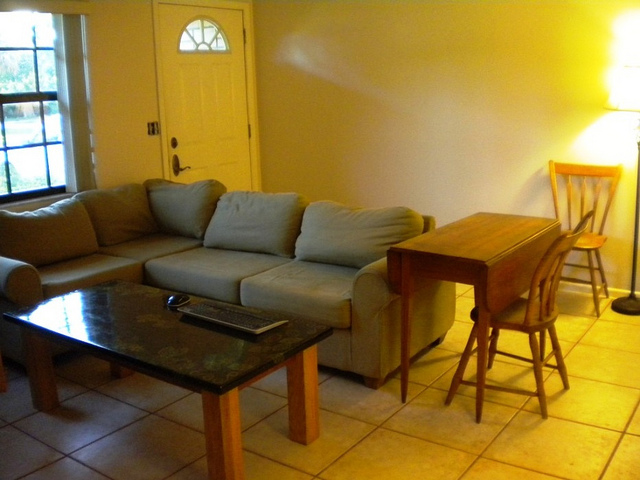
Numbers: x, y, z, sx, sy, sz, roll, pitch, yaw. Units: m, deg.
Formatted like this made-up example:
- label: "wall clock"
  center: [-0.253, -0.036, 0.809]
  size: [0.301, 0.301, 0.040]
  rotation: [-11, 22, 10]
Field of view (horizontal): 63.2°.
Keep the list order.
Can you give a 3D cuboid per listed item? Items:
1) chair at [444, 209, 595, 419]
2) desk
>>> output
- label: "chair"
  center: [1.211, 0.417, 3.092]
  size: [0.562, 1.149, 0.858]
  rotation: [14, 22, 36]
- label: "desk"
  center: [1.094, 0.372, 3.470]
  size: [0.716, 0.838, 1.317]
  rotation: [8, 18, 43]
